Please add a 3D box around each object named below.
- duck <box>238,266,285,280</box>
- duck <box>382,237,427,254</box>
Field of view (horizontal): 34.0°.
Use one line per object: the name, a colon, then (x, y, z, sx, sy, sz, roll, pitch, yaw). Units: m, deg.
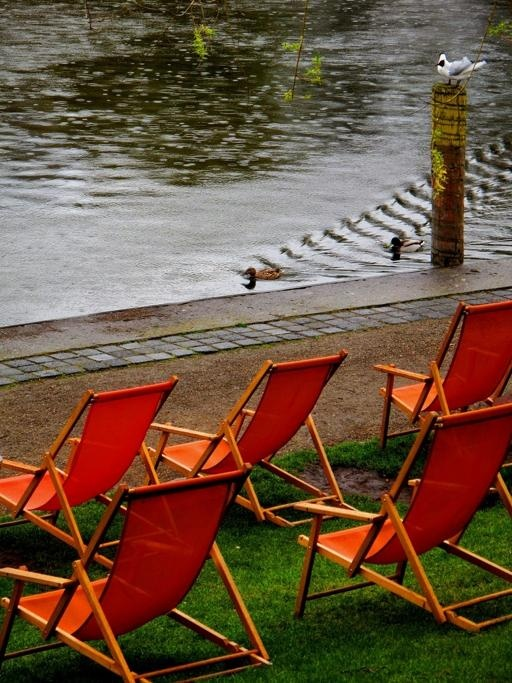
duck: (0.111, -0.962, 11.664, 0.571, 0.206, 0.589, -8, 9, -15)
duck: (2.269, -1.505, 13.077, 0.567, 0.238, 0.421, -1, 10, 28)
